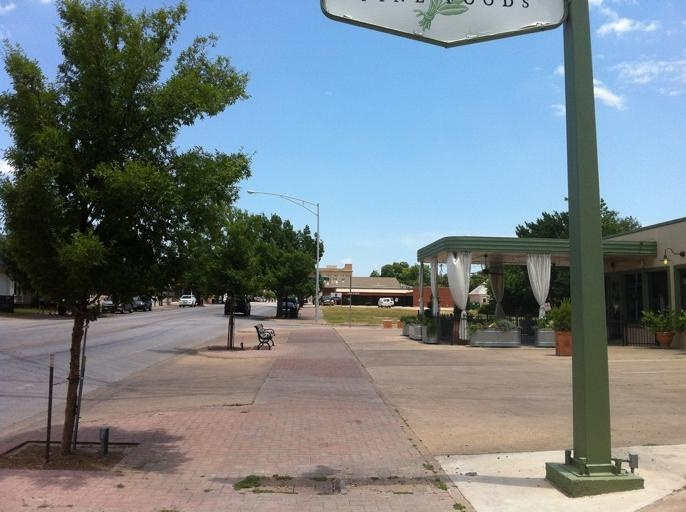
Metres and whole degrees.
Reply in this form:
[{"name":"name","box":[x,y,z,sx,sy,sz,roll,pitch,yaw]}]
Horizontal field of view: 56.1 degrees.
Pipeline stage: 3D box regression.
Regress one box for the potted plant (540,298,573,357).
[{"name":"potted plant","box":[7.558,2.516,22.283,0.564,1.826,1.429,-1,-4,16]}]

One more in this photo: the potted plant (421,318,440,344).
[{"name":"potted plant","box":[3.644,3.284,27.283,0.716,1.001,1.327,1,-1,-5]}]

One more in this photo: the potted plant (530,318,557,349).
[{"name":"potted plant","box":[8.062,3.141,25.787,0.928,1.288,1.742,1,-8,7]}]

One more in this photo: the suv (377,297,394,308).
[{"name":"suv","box":[7.186,7.778,106.564,1.452,1.297,2.172,2,1,-15]}]

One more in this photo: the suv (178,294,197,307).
[{"name":"suv","box":[-19.405,5.479,80.672,1.393,1.342,2.614,-2,-11,2]}]

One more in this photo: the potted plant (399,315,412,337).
[{"name":"potted plant","box":[3.386,3.605,33.020,0.886,1.034,0.821,2,0,-6]}]
